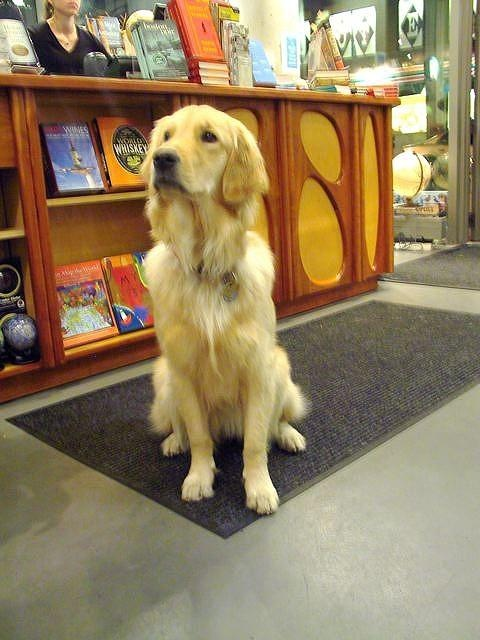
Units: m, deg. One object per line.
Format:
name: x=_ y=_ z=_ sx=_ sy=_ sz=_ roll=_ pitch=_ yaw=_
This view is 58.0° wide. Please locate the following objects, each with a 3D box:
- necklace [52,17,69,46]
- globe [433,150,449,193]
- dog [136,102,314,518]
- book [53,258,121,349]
necklace: x=-1.059 y=-1.691 z=2.579 sx=0.080 sy=0.146 sz=0.034 roll=-27 pitch=15 yaw=-8
globe: x=2.690 y=-1.996 z=5.864 sx=0.197 sy=0.466 sz=0.110 roll=2 pitch=7 yaw=38
dog: x=-0.035 y=-0.045 z=1.309 sx=0.482 sy=1.059 sz=0.507 roll=-4 pitch=6 yaw=-13
book: x=-0.807 y=-0.072 z=2.252 sx=0.059 sy=0.490 sz=0.396 roll=-19 pitch=-1 yaw=32
